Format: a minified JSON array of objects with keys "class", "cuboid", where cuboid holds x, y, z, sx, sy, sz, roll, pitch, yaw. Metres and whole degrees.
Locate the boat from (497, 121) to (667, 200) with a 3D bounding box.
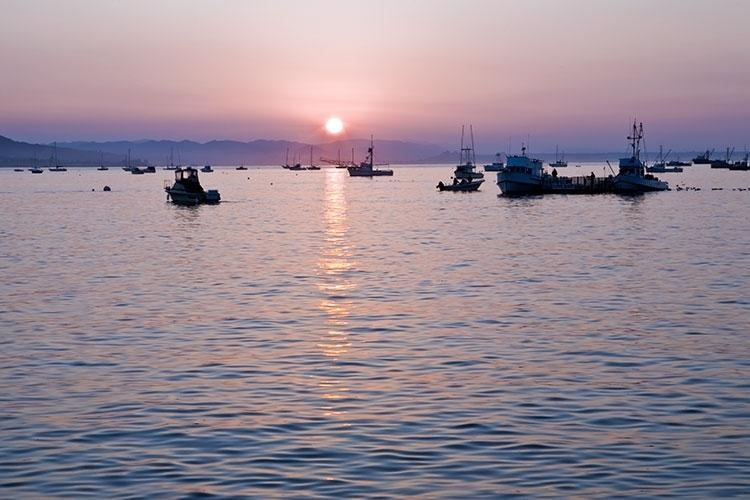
[{"class":"boat","cuboid":[30.883,-13.637,145.093,22.399,10.746,20.056,2,10,13]}]
